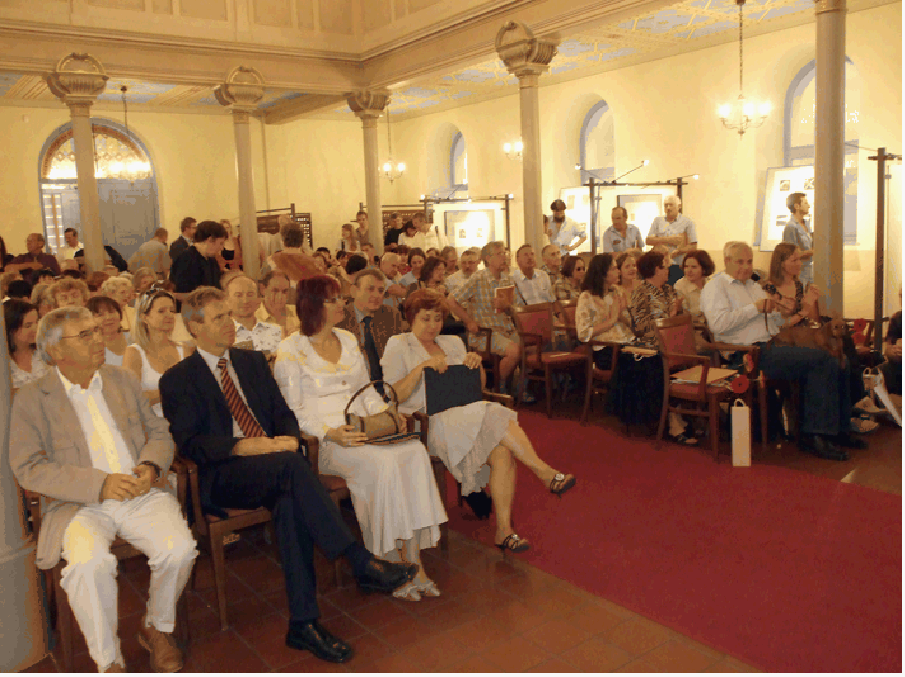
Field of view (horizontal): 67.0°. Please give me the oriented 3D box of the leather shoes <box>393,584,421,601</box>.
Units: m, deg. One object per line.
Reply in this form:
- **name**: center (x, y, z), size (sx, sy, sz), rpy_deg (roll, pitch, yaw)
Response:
- **leather shoes**: center (-0.262, 1.491, 3.988), size (0.111, 0.040, 0.113), rpy_deg (2, 2, 45)

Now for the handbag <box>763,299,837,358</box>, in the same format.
- **handbag**: center (3.214, -0.130, 6.129), size (0.298, 0.466, 0.850), rpy_deg (-15, 21, -33)

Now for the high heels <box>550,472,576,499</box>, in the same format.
- **high heels**: center (0.709, 0.978, 4.569), size (0.080, 0.131, 0.201), rpy_deg (6, -12, -30)

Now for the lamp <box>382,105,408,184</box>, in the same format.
- **lamp**: center (-1.603, -5.217, 18.366), size (0.708, 1.847, 1.981), rpy_deg (-3, 12, -5)

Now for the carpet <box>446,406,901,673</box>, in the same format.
- **carpet**: center (1.627, 1.246, 4.820), size (2.816, 0.084, 2.486), rpy_deg (8, 16, 40)

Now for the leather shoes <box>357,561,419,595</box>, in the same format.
- **leather shoes**: center (-0.369, 1.302, 3.808), size (0.321, 0.161, 0.165), rpy_deg (-5, 27, 8)

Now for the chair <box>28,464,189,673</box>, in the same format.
- **chair**: center (-1.734, 1.133, 3.508), size (0.590, 1.128, 0.460), rpy_deg (3, -38, -42)

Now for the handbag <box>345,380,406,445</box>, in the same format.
- **handbag**: center (-0.502, 0.476, 4.301), size (0.310, 0.353, 0.169), rpy_deg (-3, -9, -38)

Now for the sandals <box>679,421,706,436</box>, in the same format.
- **sandals**: center (2.255, 0.850, 6.376), size (0.161, 0.127, 0.166), rpy_deg (-1, -2, -16)

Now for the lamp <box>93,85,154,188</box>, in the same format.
- **lamp**: center (-7.454, -4.499, 15.359), size (1.242, 1.879, 2.820), rpy_deg (-8, 13, -26)

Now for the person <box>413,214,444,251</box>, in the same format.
- **person**: center (-0.504, -2.115, 13.442), size (0.509, 0.694, 0.738), rpy_deg (-5, 12, -12)

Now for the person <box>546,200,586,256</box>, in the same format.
- **person**: center (1.812, -1.835, 11.569), size (0.714, 1.038, 0.579), rpy_deg (-4, -6, 3)

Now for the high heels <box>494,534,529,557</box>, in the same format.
- **high heels**: center (0.375, 1.322, 4.354), size (0.102, 0.080, 0.225), rpy_deg (-10, -10, -37)

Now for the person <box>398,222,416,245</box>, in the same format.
- **person**: center (-0.970, -2.164, 13.953), size (0.362, 0.452, 1.023), rpy_deg (-4, 12, -7)

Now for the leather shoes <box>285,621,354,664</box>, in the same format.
- **leather shoes**: center (-0.679, 1.520, 3.570), size (0.344, 0.239, 0.153), rpy_deg (6, 9, 18)

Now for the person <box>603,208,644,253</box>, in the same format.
- **person**: center (2.694, -1.740, 10.879), size (0.624, 0.711, 0.844), rpy_deg (0, 12, 14)
